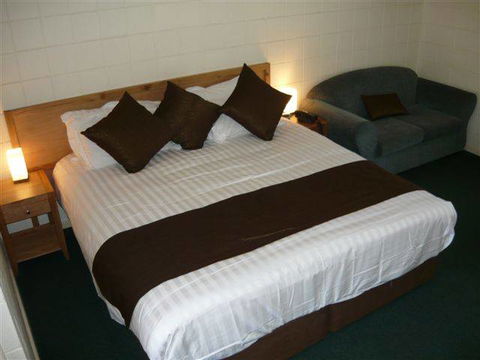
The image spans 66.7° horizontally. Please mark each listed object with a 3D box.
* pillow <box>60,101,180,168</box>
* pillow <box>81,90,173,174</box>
[{"bbox_3d":[-1.195,-0.529,3.563,0.812,0.246,0.748,-25,76,-36],"label":"pillow"},{"bbox_3d":[-1.022,-0.434,3.342,0.629,0.570,0.491,13,29,25],"label":"pillow"}]
